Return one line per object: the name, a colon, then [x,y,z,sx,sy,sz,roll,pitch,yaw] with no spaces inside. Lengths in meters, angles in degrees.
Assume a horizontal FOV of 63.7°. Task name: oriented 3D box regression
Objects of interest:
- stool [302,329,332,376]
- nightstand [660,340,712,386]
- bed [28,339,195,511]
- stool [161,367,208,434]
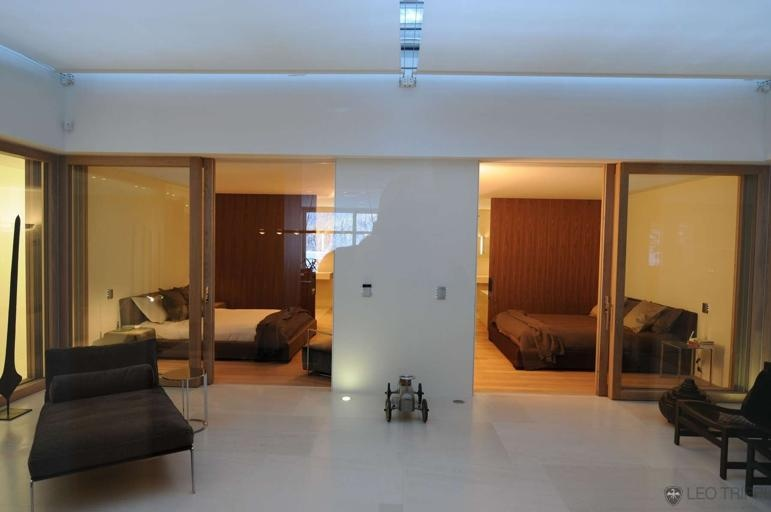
stool: [-0.868,1.266,8.486,0.528,0.407,0.724,3,2,1]
nightstand: [3.873,1.338,8.087,0.551,0.533,0.558,1,1,5]
bed: [-2.989,1.753,6.697,1.351,1.161,1.809,-1,5,-27]
stool: [-2.442,1.721,7.738,0.741,0.835,0.728,1,0,-13]
